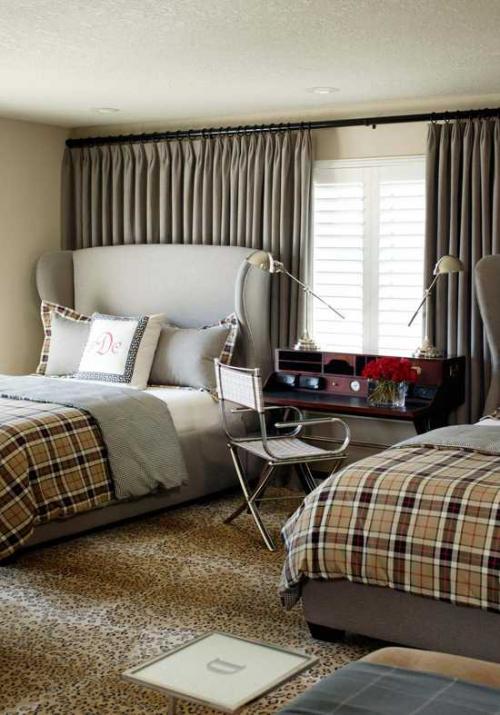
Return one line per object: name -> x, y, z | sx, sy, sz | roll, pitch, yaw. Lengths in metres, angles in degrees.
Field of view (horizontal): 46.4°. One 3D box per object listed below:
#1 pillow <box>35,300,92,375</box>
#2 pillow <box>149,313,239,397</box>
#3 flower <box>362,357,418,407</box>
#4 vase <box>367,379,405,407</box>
pillow -> -1.433, -0.141, 4.794 | 0.177, 0.576, 0.561 | 13, -4, -41
pillow -> -0.383, 0.005, 3.894 | 0.591, 0.526, 0.229 | 0, 4, 27
flower -> 0.798, 0.123, 3.348 | 0.294, 0.283, 0.298 | 0, 1, 28
vase -> 0.783, 0.204, 3.370 | 0.172, 0.175, 0.169 | 0, -2, 4
